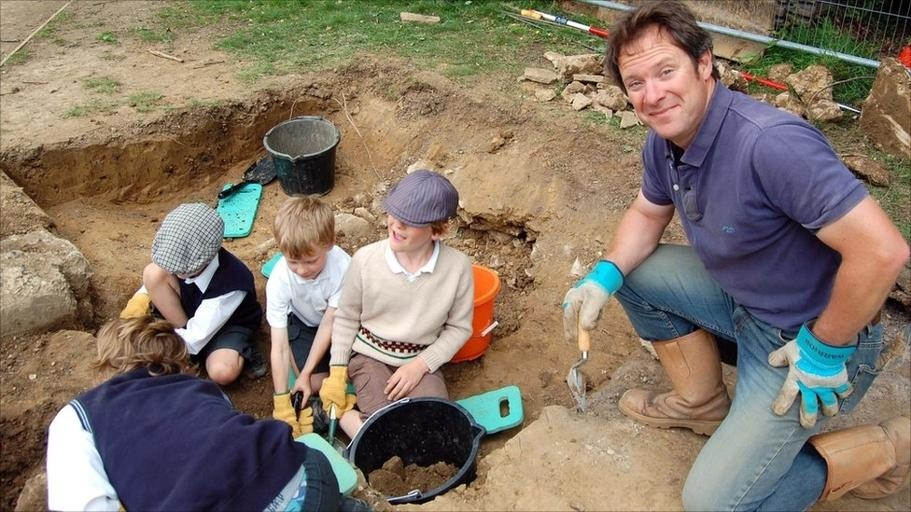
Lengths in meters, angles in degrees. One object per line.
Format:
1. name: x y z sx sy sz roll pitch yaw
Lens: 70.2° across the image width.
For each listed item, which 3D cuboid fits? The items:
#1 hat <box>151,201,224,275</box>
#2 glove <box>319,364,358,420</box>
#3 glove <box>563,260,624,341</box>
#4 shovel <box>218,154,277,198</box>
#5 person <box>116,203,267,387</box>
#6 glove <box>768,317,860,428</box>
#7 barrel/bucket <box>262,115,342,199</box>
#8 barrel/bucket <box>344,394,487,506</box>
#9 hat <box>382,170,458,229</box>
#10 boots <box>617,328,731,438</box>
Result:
1. hat: -1.869 -0.121 4.697 0.411 0.535 0.163 36 -9 7
2. glove: -0.818 0.932 4.531 0.275 0.148 0.343 31 5 -7
3. glove: 0.874 0.310 4.176 0.308 0.531 0.207 50 6 29
4. shovel: -2.126 -0.805 6.680 0.321 0.107 0.631 34 46 25
5. person: -1.944 0.325 4.764 0.948 1.005 0.732 29 46 16
6. glove: 2.087 0.691 3.782 0.480 0.576 0.250 3 21 10
7. barrel/bucket: -1.497 -0.995 6.529 0.921 0.693 0.908 1 51 -1
8. barrel/bucket: -0.222 1.316 4.331 0.709 0.482 0.704 -6 56 9
9. hat: -0.234 -0.396 4.316 0.435 0.267 0.345 -16 40 -36
10. boots: 1.440 0.837 4.175 0.547 0.524 0.289 25 54 29
